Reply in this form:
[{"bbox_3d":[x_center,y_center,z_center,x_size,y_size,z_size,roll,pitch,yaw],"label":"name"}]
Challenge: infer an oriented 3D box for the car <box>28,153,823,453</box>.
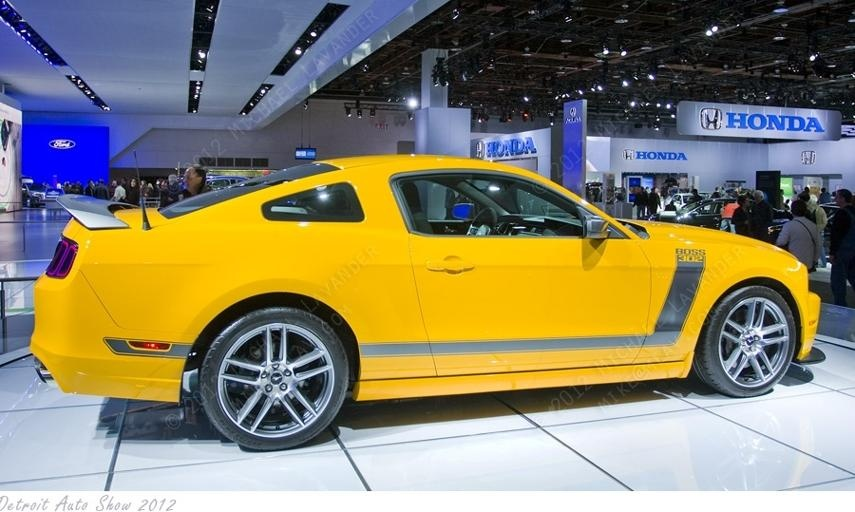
[{"bbox_3d":[0.215,0.294,5.194,6.512,1.804,2.867,-2,3,-12],"label":"car"}]
